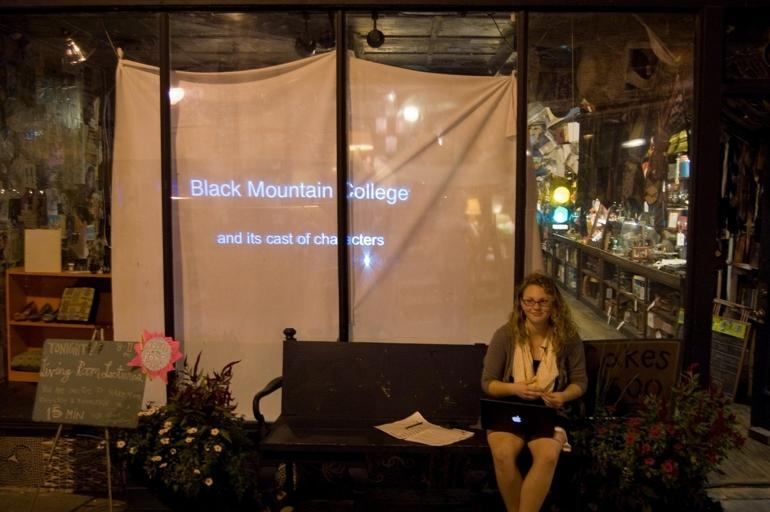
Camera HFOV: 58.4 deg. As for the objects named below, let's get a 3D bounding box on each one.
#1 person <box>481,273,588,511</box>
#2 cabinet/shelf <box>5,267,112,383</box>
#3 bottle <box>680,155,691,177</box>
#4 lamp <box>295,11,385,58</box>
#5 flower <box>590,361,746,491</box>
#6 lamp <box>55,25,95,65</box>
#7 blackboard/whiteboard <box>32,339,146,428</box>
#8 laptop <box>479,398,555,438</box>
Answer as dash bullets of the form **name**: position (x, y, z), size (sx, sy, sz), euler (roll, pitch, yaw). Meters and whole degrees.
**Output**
- **person**: position (1.286, 1.176, 5.904), size (0.891, 2.061, 0.560), euler (1, -3, 9)
- **cabinet/shelf**: position (-3.501, 0.739, 7.428), size (1.300, 1.223, 0.462), euler (0, 1, -2)
- **bottle**: position (2.844, -0.840, 6.529), size (0.107, 0.201, 0.034), euler (-2, -5, 42)
- **lamp**: position (-0.418, -2.087, 6.494), size (0.841, 0.385, 0.091), euler (1, -3, 2)
- **flower**: position (2.450, 1.546, 6.049), size (1.303, 0.990, 0.371), euler (1, -3, -4)
- **lamp**: position (-3.055, -2.041, 6.758), size (0.333, 0.333, 0.103), euler (-42, 9, 19)
- **blackboard/whiteboard**: position (-2.524, 1.114, 5.962), size (0.869, 0.706, 0.059), euler (2, -7, 2)
- **laptop**: position (1.104, 1.347, 5.685), size (0.504, 0.328, 0.355), euler (2, 13, 13)
